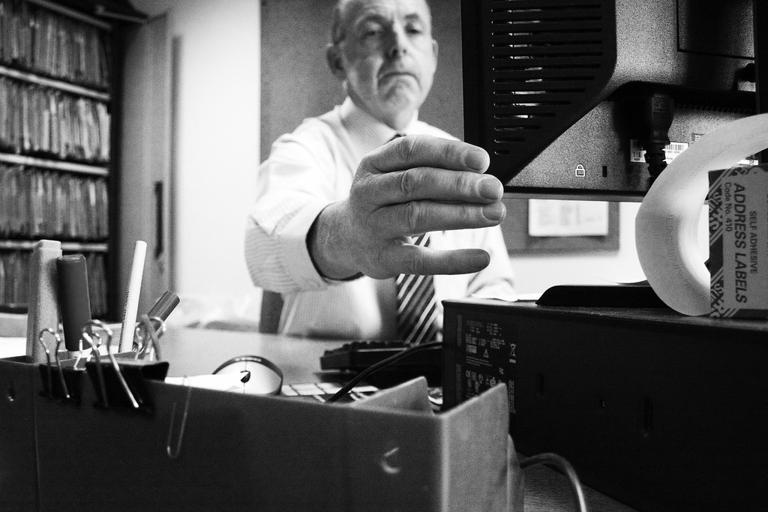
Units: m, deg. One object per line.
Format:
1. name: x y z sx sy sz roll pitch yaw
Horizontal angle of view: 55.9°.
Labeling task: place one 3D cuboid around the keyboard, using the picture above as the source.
1. keyboard: -0.016 0.194 1.313 0.194 0.058 0.230 1 0 -8
